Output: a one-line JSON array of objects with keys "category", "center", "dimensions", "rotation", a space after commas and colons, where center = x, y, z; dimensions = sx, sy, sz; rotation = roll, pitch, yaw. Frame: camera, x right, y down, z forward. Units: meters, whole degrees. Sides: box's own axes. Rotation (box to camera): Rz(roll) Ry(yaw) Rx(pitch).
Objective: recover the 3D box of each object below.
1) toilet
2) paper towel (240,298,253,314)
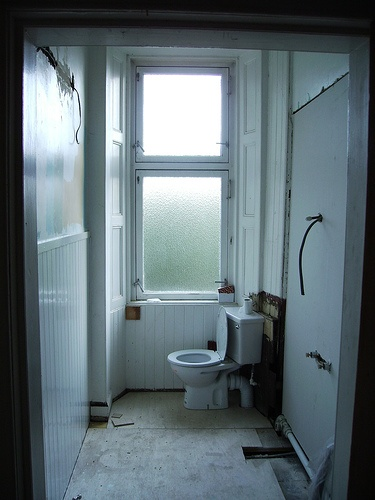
[{"category": "toilet", "center": [0.210, 0.815, 2.992], "dimensions": [0.566, 0.984, 0.451], "rotation": [-1, 14, -5]}, {"category": "paper towel", "center": [0.464, 0.439, 2.969], "dimensions": [0.055, 0.150, 0.113], "rotation": [4, -8, -28]}]
